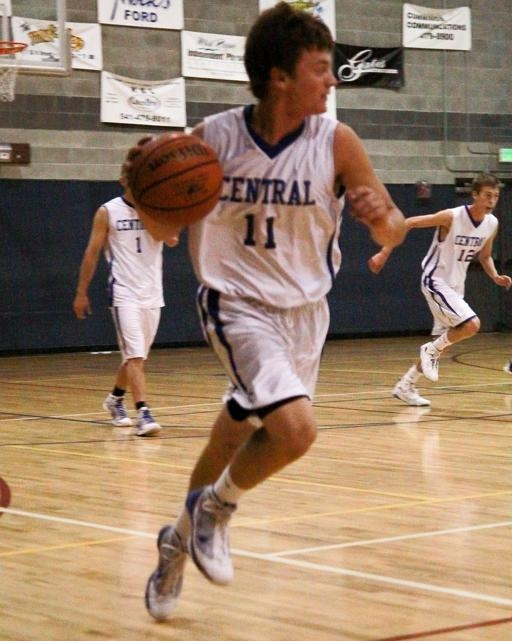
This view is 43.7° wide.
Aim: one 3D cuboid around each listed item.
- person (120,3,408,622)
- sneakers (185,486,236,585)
[{"bbox_3d":[0.024,-0.014,1.406,0.494,1.344,0.589,6,16,23],"label":"person"},{"bbox_3d":[-0.093,0.449,1.351,0.103,0.206,0.216,-2,14,-7],"label":"sneakers"}]
